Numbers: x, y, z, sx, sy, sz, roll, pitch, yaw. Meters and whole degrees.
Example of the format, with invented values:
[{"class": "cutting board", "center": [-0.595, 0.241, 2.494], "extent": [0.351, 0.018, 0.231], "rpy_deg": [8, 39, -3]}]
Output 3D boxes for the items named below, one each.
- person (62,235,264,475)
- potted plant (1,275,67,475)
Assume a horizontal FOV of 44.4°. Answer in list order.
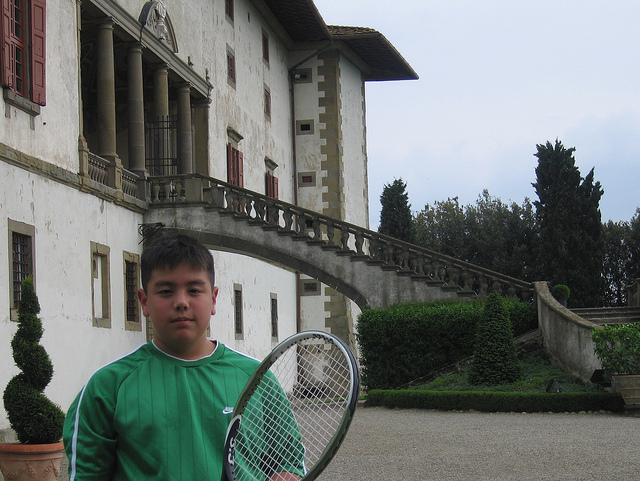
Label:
[{"class": "person", "center": [-0.815, 0.589, 4.113], "extent": [0.962, 1.240, 0.312], "rpy_deg": [-2, -7, 7]}, {"class": "potted plant", "center": [-4.200, 2.019, 11.580], "extent": [0.813, 2.885, 2.267], "rpy_deg": [1, -7, -18]}]
